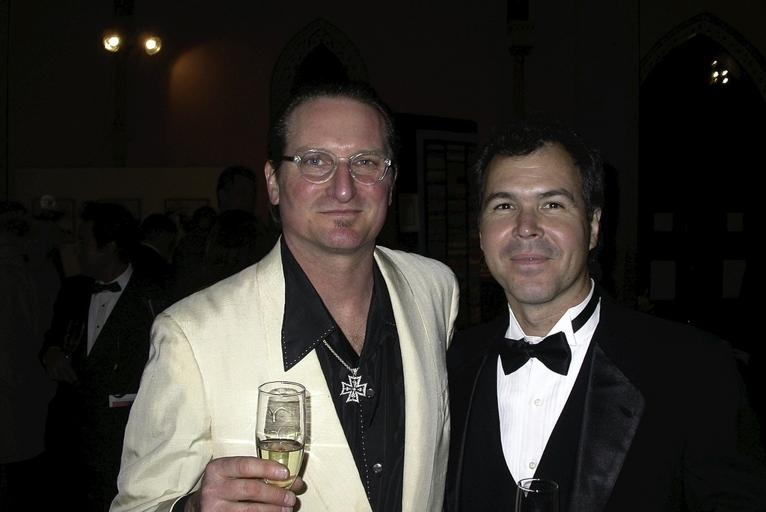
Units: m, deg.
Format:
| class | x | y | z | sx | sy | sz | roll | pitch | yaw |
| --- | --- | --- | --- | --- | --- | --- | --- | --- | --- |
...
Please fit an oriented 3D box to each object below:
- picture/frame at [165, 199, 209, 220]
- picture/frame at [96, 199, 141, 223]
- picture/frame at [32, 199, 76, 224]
| class | x | y | z | sx | sy | sz | roll | pitch | yaw |
| --- | --- | --- | --- | --- | --- | --- | --- | --- | --- |
| picture/frame | -2.868 | -0.708 | 9.591 | 0.434 | 0.303 | 0.104 | 0 | -4 | -3 |
| picture/frame | -3.739 | -0.740 | 9.422 | 0.658 | 0.445 | 0.353 | 0 | -2 | -2 |
| picture/frame | -4.611 | -0.627 | 9.308 | 0.549 | 0.318 | 0.040 | -1 | -21 | 3 |
